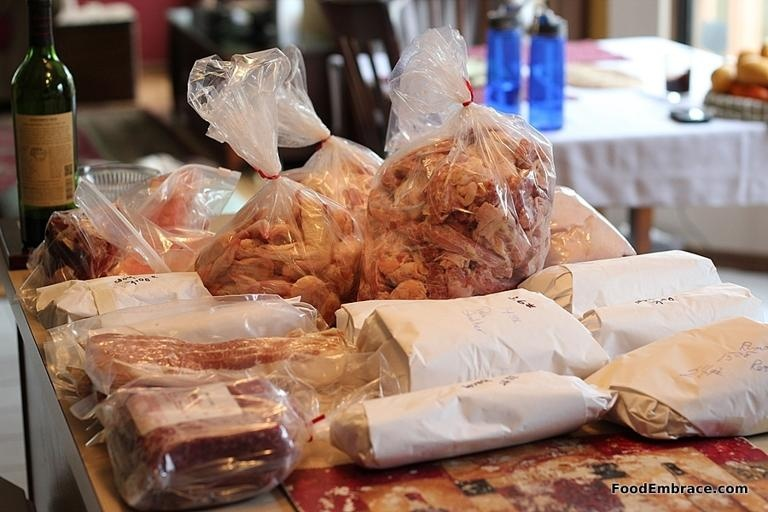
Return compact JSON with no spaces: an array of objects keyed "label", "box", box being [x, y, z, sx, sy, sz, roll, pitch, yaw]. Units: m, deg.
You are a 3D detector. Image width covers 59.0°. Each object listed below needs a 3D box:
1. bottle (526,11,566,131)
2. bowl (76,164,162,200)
[{"label":"bottle","box":[0.510,-0.582,2.128,0.114,0.366,0.130,2,17,11]},{"label":"bowl","box":[-0.590,-0.169,1.522,0.216,0.063,0.140,14,21,42]}]
